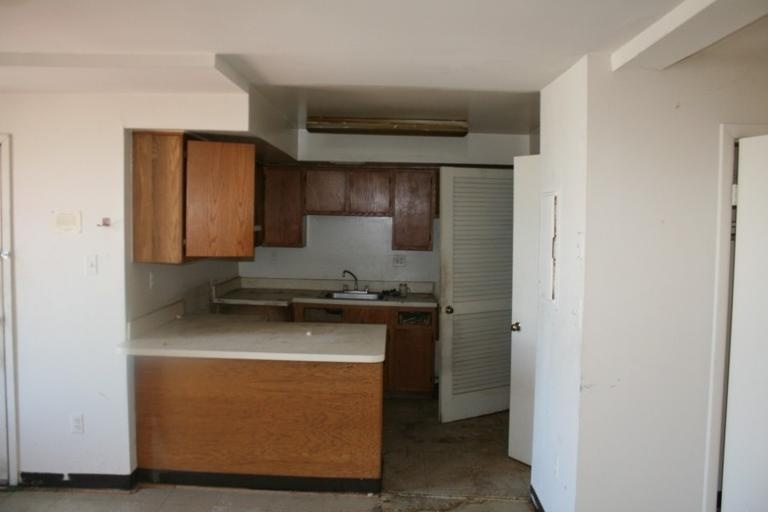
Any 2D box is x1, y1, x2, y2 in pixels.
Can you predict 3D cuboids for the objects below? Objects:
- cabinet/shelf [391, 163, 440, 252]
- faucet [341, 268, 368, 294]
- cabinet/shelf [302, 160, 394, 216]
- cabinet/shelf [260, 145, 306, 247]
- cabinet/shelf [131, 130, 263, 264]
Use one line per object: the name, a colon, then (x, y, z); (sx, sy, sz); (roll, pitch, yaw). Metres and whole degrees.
cabinet/shelf: (0.305, -0.484, 6.674); (0.459, 0.832, 0.147); (6, 14, -1)
faucet: (-0.294, 0.308, 7.106); (0.309, 0.284, 0.249); (-4, -12, 20)
cabinet/shelf: (-0.359, -0.670, 6.684); (0.912, 0.522, 0.172); (4, 14, -6)
cabinet/shelf: (-1.033, -0.534, 6.697); (0.450, 0.873, 0.228); (3, 14, -11)
cabinet/shelf: (-1.529, -0.467, 5.248); (0.964, 1.020, 0.301); (2, 14, -15)
